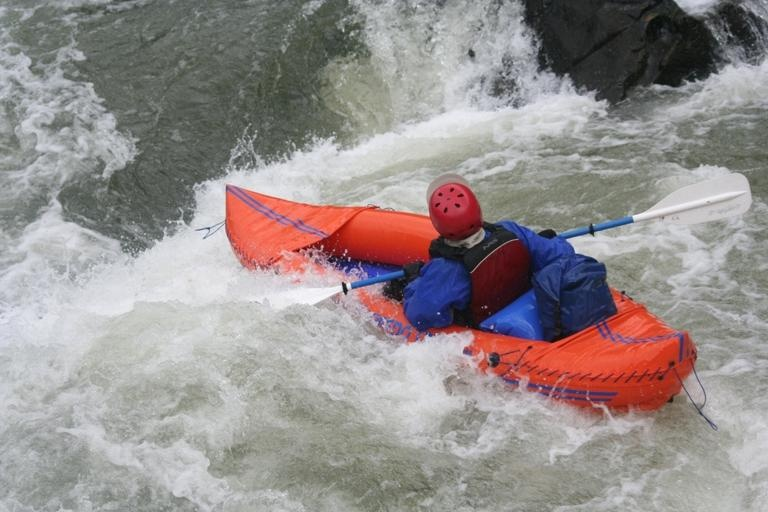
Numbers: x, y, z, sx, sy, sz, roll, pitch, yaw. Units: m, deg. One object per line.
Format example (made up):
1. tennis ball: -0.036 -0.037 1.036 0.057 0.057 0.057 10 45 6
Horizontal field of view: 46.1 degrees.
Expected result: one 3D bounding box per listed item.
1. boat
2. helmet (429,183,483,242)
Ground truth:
1. boat: 0.265 0.319 10.781 6.437 1.116 2.132 22 43 26
2. helmet: 0.745 -0.478 10.029 0.485 0.667 0.493 -29 22 2
